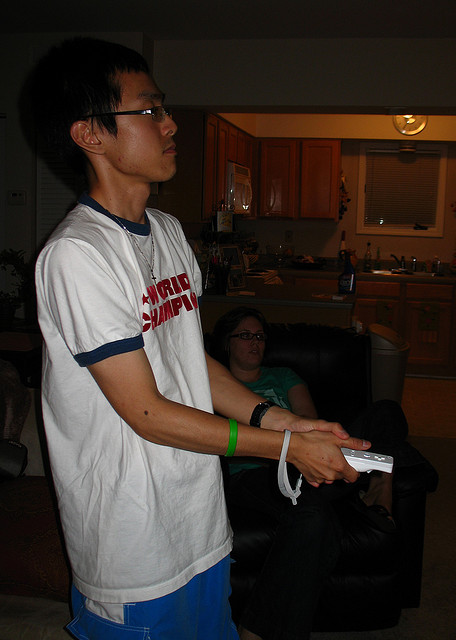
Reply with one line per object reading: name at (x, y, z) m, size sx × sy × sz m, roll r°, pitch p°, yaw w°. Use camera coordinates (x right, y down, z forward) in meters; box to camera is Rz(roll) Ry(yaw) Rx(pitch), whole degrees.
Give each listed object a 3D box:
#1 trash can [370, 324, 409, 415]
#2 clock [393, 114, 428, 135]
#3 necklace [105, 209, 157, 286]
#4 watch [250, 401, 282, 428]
trash can at (1.005, 0.311, 3.192) m, size 0.240 × 0.506 × 0.381 m, roll 5°, pitch 11°, yaw 16°
clock at (2.077, -2.235, 5.759) m, size 0.362 × 0.198 × 0.273 m, roll 5°, pitch 11°, yaw 16°
necklace at (-0.142, -0.116, 0.764) m, size 0.020 × 0.131 × 0.036 m, roll -35°, pitch -18°, yaw 22°
watch at (0.065, 0.158, 0.867) m, size 0.015 × 0.040 × 0.041 m, roll 28°, pitch 36°, yaw 13°
